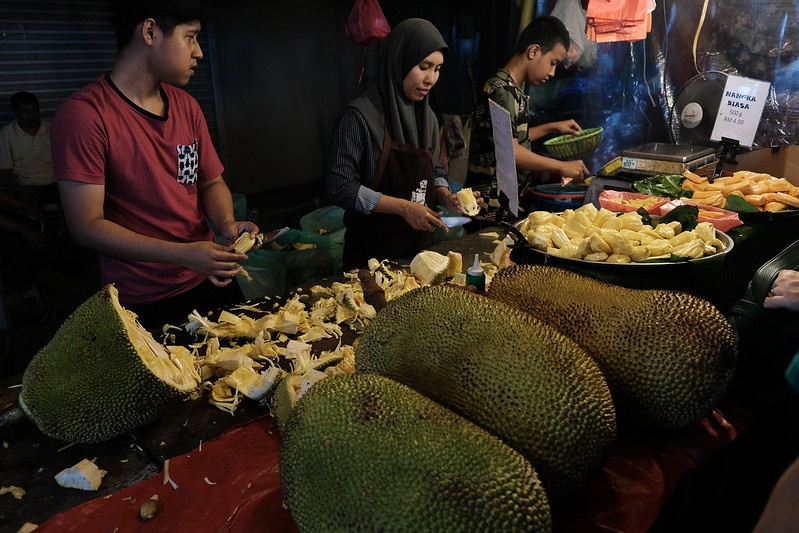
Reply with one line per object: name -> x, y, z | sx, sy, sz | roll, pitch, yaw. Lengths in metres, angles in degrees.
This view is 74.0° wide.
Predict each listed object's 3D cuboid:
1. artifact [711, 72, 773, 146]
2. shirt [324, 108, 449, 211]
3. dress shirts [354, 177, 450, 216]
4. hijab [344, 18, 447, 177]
artifact -> 1.503, -0.688, 2.323 | 0.179, 0.289, 0.099 | 23, 37, 34
shirt -> -0.108, -0.487, 2.888 | 0.399, 0.688, 0.767 | 18, 25, 40
dress shirts -> -0.016, -0.339, 2.672 | 0.357, 0.134, 0.253 | 4, 23, -7
hijab -> -0.003, -0.876, 2.731 | 0.426, 0.709, 0.531 | 21, 24, 33
